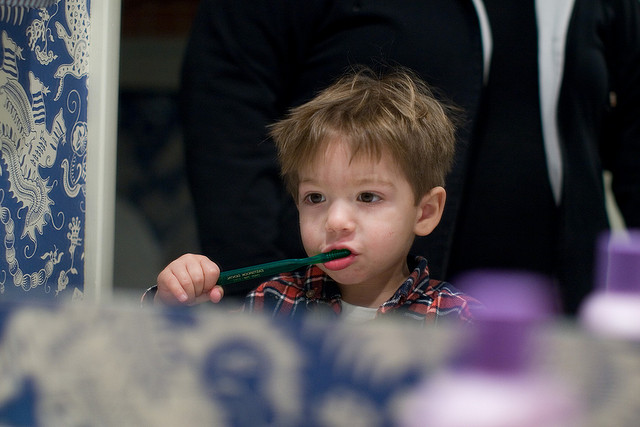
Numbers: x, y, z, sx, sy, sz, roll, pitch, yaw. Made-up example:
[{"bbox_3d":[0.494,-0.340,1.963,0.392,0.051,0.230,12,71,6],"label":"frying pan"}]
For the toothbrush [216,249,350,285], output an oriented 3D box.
[{"bbox_3d":[-0.048,0.083,1.331,0.194,0.021,0.021,-13,11,-6],"label":"toothbrush"}]
